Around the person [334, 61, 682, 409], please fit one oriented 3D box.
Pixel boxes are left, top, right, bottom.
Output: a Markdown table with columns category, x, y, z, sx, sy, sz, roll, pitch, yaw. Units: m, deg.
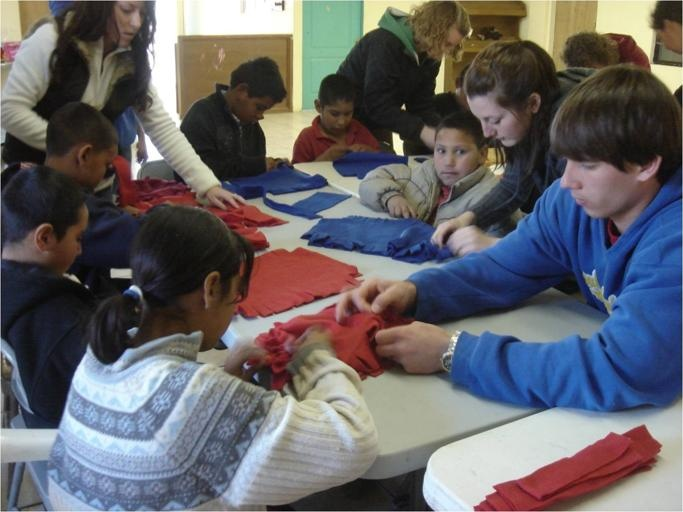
| category | x | y | z | sx | sy | sz | roll | pitch | yaw |
| --- | --- | --- | --- | --- | --- | --- | --- | --- | --- |
| person | 0.381 | -0.066 | 1.264 | 0.711 | 0.558 | 0.563 | -5 | 12 | -9 |
